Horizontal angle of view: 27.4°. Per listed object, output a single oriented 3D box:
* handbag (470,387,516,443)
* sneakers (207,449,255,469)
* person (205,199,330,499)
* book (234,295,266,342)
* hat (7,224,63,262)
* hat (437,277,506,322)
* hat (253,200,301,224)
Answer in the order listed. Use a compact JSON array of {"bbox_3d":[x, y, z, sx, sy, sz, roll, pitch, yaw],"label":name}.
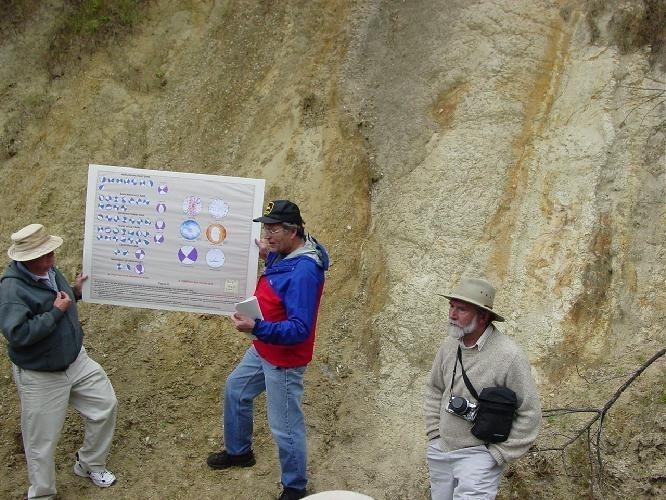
[{"bbox_3d":[1.894,1.833,15.745,0.476,0.706,0.380,9,25,2],"label":"handbag"},{"bbox_3d":[-1.255,2.577,16.899,0.537,0.253,0.244,4,11,-2],"label":"sneakers"},{"bbox_3d":[-0.652,1.206,16.349,1.363,3.438,1.003,23,25,34],"label":"person"},{"bbox_3d":[-0.931,0.797,15.942,0.387,0.418,0.147,-13,30,17],"label":"book"},{"bbox_3d":[-3.597,0.012,16.444,0.475,0.199,0.491,-24,32,0],"label":"hat"},{"bbox_3d":[1.686,0.599,15.788,0.546,0.253,0.536,34,-11,-37],"label":"hat"},{"bbox_3d":[-0.608,-0.452,16.280,0.382,0.227,0.283,-2,6,-9],"label":"hat"}]
